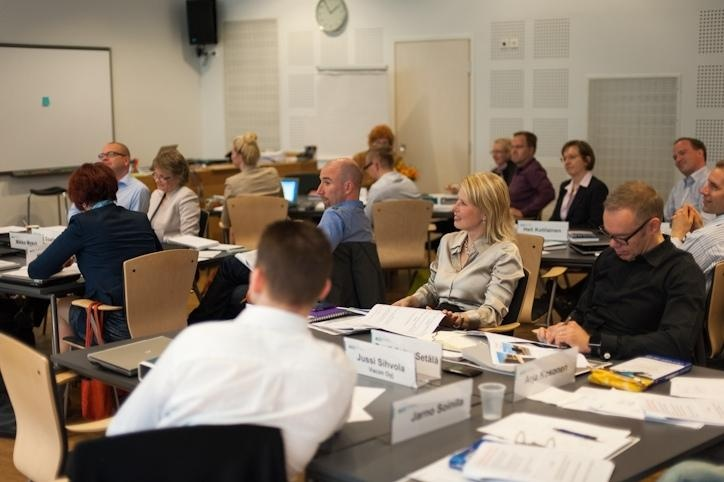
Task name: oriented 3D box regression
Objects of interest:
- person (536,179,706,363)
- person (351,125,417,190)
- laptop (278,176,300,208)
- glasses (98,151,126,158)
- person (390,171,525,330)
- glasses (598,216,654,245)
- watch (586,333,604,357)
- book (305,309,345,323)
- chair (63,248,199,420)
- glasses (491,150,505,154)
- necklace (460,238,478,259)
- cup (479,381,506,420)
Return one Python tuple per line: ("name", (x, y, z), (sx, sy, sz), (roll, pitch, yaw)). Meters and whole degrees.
("person", (1.348, 0.165, 3.091), (0.592, 0.890, 0.988), (-7, 9, -12))
("person", (0.258, -1.053, 7.072), (0.609, 0.893, 0.852), (-1, 2, -2))
("laptop", (-0.869, -0.562, 7.074), (0.366, 0.294, 0.295), (1, 2, 13))
("glasses", (-2.262, -0.788, 5.463), (0.236, 0.065, 0.137), (0, 14, -4))
("person", (0.576, 0.019, 3.819), (0.842, 1.070, 0.778), (-2, 4, -35))
("glasses", (1.341, -0.053, 3.053), (0.162, 0.051, 0.158), (-35, 12, -21))
("watch", (1.033, 0.466, 2.678), (0.077, 0.083, 0.061), (6, -2, 13))
("book", (-0.179, 0.366, 2.928), (0.159, 0.035, 0.157), (-7, 5, -37))
("chair", (-1.524, 0.635, 4.109), (0.731, 1.203, 0.726), (5, 9, 38))
("glasses", (1.661, -1.100, 7.389), (0.097, 0.028, 0.091), (2, 2, -41))
("necklace", (0.630, 0.044, 3.567), (0.042, 0.120, 0.082), (20, -13, -34))
("cup", (0.468, 0.584, 2.238), (0.107, 0.116, 0.110), (0, 5, 0))
